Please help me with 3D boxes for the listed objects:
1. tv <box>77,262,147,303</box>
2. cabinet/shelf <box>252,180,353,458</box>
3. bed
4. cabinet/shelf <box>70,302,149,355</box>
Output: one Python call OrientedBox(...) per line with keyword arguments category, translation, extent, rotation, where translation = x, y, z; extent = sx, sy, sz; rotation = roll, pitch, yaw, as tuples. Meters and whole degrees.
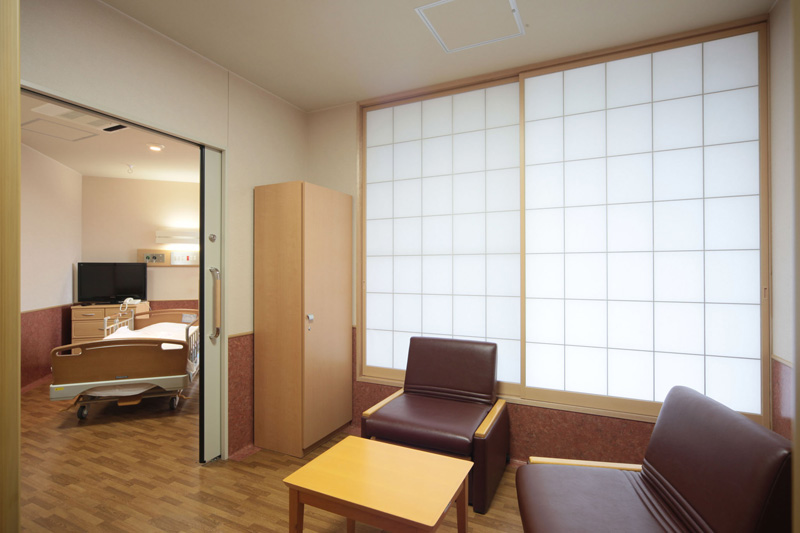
OrientedBox(category="tv", translation=(-2.793, 0.138, 5.337), extent=(0.105, 0.285, 0.396), rotation=(5, 3, 28))
OrientedBox(category="cabinet/shelf", translation=(-0.916, 0.470, 5.522), extent=(0.607, 2.338, 0.927), rotation=(1, 2, 27))
OrientedBox(category="bed", translation=(-2.663, 0.945, 5.455), extent=(0.849, 0.750, 1.301), rotation=(0, -8, -9))
OrientedBox(category="cabinet/shelf", translation=(-2.861, 0.664, 5.475), extent=(0.292, 0.717, 0.767), rotation=(-1, -4, 41))
